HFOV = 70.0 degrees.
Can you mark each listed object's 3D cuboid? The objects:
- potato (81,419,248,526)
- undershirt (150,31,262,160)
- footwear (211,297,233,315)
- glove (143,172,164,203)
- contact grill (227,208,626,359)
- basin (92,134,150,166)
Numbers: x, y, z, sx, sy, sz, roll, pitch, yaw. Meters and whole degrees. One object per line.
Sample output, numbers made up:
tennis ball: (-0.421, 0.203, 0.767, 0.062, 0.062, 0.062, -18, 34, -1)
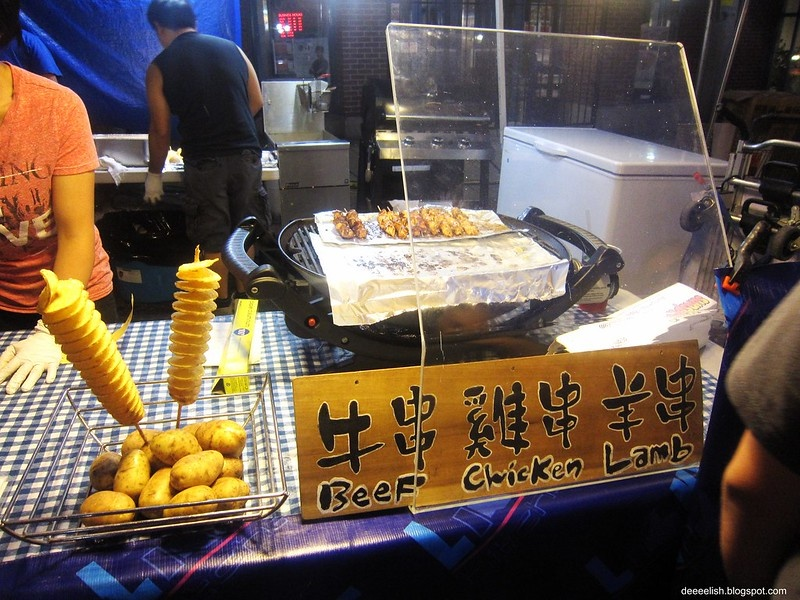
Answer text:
potato: (-0.506, 0.381, 1.220, 0.236, 0.077, 0.242, -7, 26, -7)
undershirt: (-1.203, -1.308, 3.677, 0.608, 0.766, 0.427, -27, 22, -37)
footwear: (-1.046, 0.039, 3.379, 0.110, 0.030, 0.120, 5, 27, -3)
glove: (-1.655, -0.757, 3.839, 0.124, 0.192, 0.077, -5, 18, -15)
contact grill: (0.163, 0.013, 1.614, 0.620, 0.323, 0.999, 0, -12, -24)
basin: (-1.946, -1.062, 4.029, 0.292, 0.099, 0.243, -13, 46, -26)
